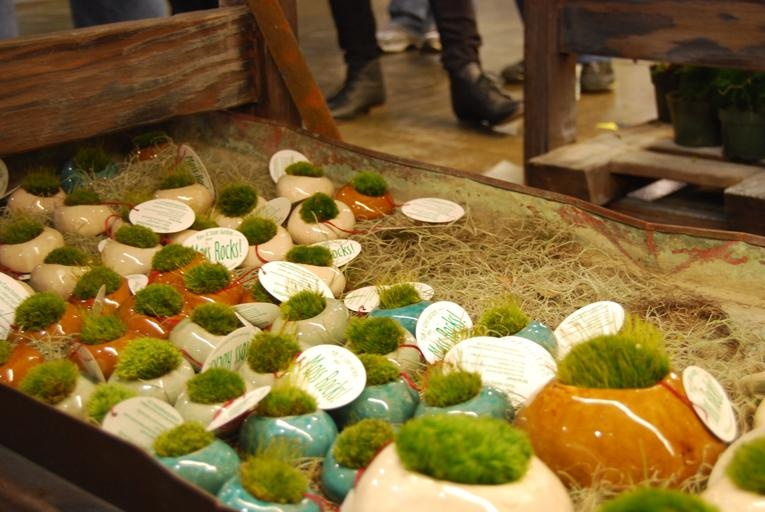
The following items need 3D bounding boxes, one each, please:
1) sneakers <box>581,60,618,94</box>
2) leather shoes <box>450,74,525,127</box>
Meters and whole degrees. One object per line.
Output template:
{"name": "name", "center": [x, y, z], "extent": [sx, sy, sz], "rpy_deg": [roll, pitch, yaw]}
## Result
{"name": "sneakers", "center": [0.793, -0.656, 2.036], "extent": [0.166, 0.104, 0.088], "rpy_deg": [-13, 8, -43]}
{"name": "leather shoes", "center": [0.457, -0.737, 2.530], "extent": [0.145, 0.279, 0.385], "rpy_deg": [-28, 30, -35]}
